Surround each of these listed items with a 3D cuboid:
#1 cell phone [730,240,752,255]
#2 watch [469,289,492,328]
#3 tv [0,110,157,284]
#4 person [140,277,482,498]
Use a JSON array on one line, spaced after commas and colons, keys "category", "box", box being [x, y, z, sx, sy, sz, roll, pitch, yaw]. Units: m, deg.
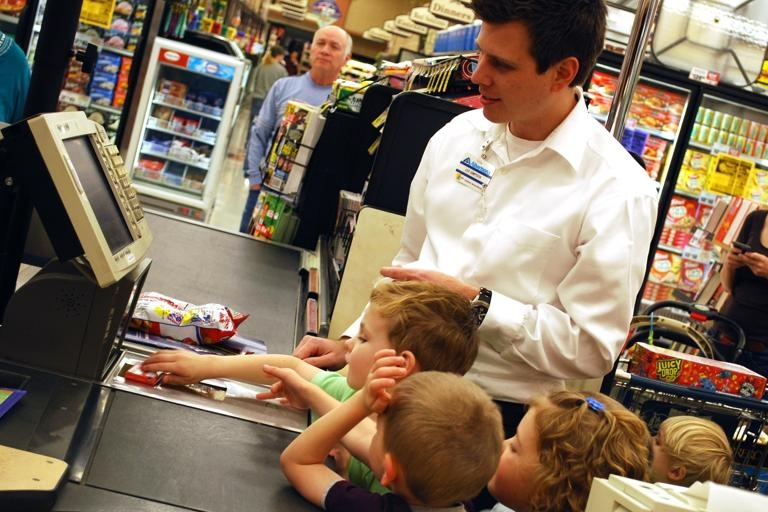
[{"category": "cell phone", "box": [2.708, -0.058, 4.309, 0.132, 0.024, 0.241, 19, -3, 18]}, {"category": "watch", "box": [0.304, 0.161, 1.754, 0.073, 0.097, 0.038, -12, -4, 34]}, {"category": "tv", "box": [-0.824, -0.179, 1.564, 0.358, 0.265, 0.414, 16, 7, -14]}, {"category": "person", "box": [-0.208, 0.327, 1.778, 0.900, 0.326, 0.549, 11, -2, 2]}]
